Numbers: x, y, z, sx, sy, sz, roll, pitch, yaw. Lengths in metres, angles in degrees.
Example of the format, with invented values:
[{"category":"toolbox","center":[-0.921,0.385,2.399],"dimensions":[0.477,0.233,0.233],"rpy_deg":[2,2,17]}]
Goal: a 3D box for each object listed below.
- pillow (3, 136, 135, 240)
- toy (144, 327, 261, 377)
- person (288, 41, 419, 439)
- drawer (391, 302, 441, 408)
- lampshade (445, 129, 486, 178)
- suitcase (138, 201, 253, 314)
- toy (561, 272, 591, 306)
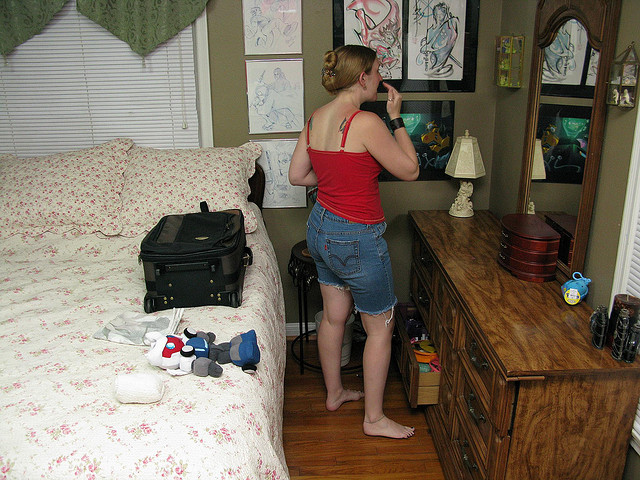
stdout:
[{"category":"pillow","center":[-1.460,-0.253,2.829],"dimensions":[0.596,0.574,0.155],"rpy_deg":[-1,-24,-8]},{"category":"toy","center":[-0.428,0.421,1.812],"dimensions":[0.259,0.087,0.217],"rpy_deg":[1,8,-21]},{"category":"person","center":[0.178,0.085,2.533],"dimensions":[0.648,2.068,0.367],"rpy_deg":[2,14,16]},{"category":"drawer","center":[0.598,0.764,2.931],"dimensions":[0.204,0.204,0.659],"rpy_deg":[5,7,0]},{"category":"lampshade","center":[0.892,-0.550,3.119],"dimensions":[0.252,0.347,0.312],"rpy_deg":[-1,14,4]},{"category":"suitcase","center":[-0.581,0.086,2.385],"dimensions":[0.484,0.368,0.488],"rpy_deg":[-4,13,-6]},{"category":"toy","center":[1.070,0.203,2.021],"dimensions":[0.109,0.119,0.081],"rpy_deg":[0,21,-11]}]
